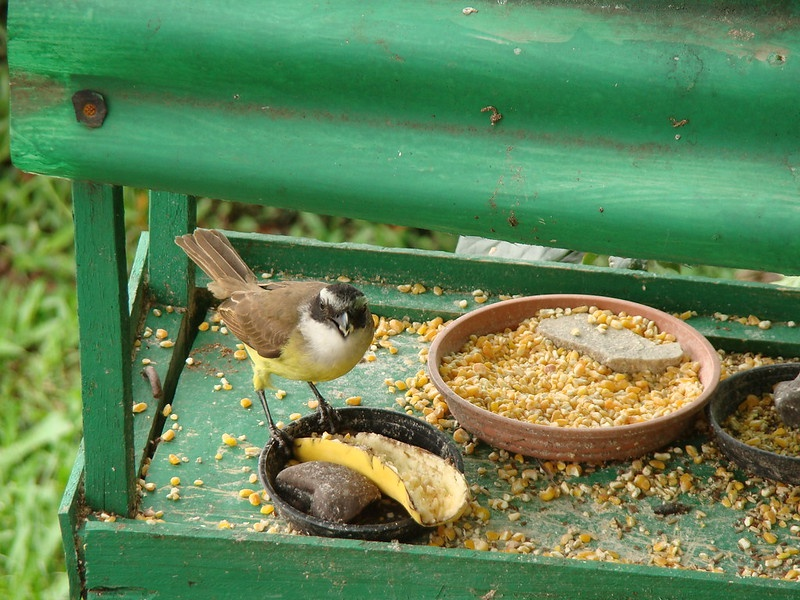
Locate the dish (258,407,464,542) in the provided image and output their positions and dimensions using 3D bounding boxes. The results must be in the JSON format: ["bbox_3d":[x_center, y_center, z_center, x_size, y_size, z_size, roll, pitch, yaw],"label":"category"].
[{"bbox_3d":[-0.157,0.645,3.079,0.686,0.216,0.634,18,31,30],"label":"dish"}]

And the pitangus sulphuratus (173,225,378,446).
[{"bbox_3d":[-0.465,0.122,3.340,0.401,0.585,0.877,-18,32,-32],"label":"pitangus sulphuratus"}]
